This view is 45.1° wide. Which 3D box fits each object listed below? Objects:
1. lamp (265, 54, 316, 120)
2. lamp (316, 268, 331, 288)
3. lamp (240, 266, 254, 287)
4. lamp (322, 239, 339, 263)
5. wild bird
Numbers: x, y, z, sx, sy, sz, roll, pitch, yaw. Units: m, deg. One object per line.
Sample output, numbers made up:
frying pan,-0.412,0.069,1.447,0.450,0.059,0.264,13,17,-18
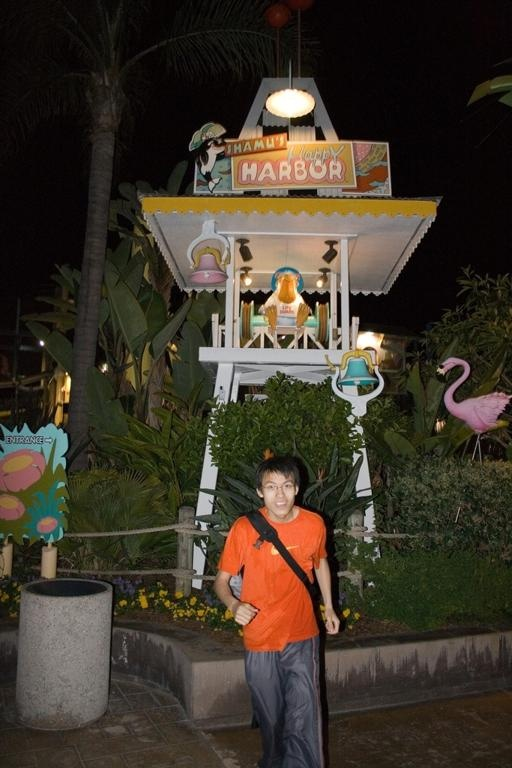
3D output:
lamp,0.448,-3.820,8.135,0.646,0.723,0.662,2,-13,-6
lamp,1.064,-1.717,9.779,0.166,0.268,0.165,4,-3,2
lamp,-0.153,-1.720,9.953,0.160,0.289,0.177,6,-33,-12
lamp,1.018,-1.838,8.457,0.167,0.164,0.129,26,-1,35
wild bird,2.688,0.114,7.795,0.775,1.073,1.264,1,-8,16
